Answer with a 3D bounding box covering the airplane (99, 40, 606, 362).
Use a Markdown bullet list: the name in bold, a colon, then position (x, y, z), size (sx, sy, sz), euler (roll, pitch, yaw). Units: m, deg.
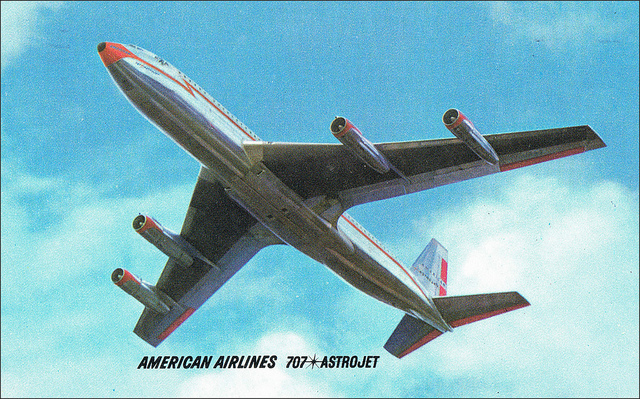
- **airplane**: position (-0.995, -0.299, 48.985), size (22.508, 18.363, 8.430), euler (-25, -4, -1)
